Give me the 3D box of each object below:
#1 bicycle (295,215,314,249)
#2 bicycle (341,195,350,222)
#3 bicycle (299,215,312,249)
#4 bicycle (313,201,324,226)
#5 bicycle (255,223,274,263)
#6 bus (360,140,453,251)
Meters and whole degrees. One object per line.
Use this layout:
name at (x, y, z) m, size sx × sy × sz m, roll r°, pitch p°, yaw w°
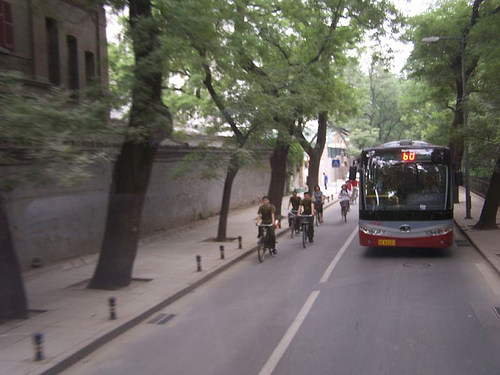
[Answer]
bicycle at (2.241, 1.716, 16.107) m, size 0.485 × 1.228 × 1.202 m, roll -1°, pitch 4°, yaw 7°
bicycle at (5.425, 1.197, 23.212) m, size 0.392 × 1.481 × 0.895 m, roll 0°, pitch 4°, yaw 18°
bicycle at (2.196, 1.717, 16.020) m, size 0.420 × 1.219 × 0.892 m, roll -2°, pitch 4°, yaw -1°
bicycle at (3.620, 1.380, 21.623) m, size 0.355 × 1.378 × 1.118 m, roll -1°, pitch 4°, yaw 9°
bicycle at (0.533, 1.841, 13.927) m, size 0.430 × 1.308 × 1.262 m, roll 0°, pitch 4°, yaw 23°
bus at (5.166, 0.273, 13.516) m, size 2.840 × 3.311 × 1.231 m, roll 0°, pitch 4°, yaw 24°
